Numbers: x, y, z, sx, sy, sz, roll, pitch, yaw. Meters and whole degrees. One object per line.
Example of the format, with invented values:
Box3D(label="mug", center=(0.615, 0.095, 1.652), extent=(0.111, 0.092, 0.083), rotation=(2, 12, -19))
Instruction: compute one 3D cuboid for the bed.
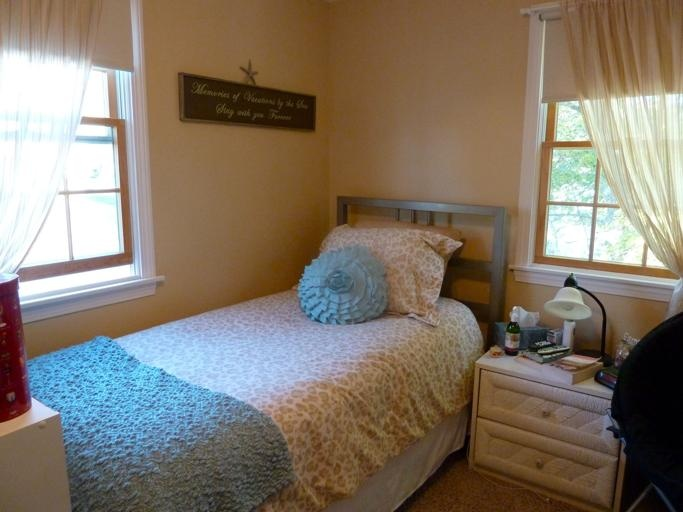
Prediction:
Box3D(label="bed", center=(0.120, 0.413, 3.005), extent=(1.366, 1.416, 1.411), rotation=(5, 8, 32))

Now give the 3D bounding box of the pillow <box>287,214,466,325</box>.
Box3D(label="pillow", center=(0.296, 0.076, 3.119), extent=(0.743, 0.458, 0.404), rotation=(8, 13, 31))

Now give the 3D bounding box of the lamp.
Box3D(label="lamp", center=(1.242, 0.339, 2.722), extent=(0.337, 0.464, 0.225), rotation=(8, -13, -13))

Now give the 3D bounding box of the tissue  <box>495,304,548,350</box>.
Box3D(label="tissue ", center=(1.074, 0.417, 2.973), extent=(0.199, 0.199, 0.195), rotation=(-5, 8, 7))
